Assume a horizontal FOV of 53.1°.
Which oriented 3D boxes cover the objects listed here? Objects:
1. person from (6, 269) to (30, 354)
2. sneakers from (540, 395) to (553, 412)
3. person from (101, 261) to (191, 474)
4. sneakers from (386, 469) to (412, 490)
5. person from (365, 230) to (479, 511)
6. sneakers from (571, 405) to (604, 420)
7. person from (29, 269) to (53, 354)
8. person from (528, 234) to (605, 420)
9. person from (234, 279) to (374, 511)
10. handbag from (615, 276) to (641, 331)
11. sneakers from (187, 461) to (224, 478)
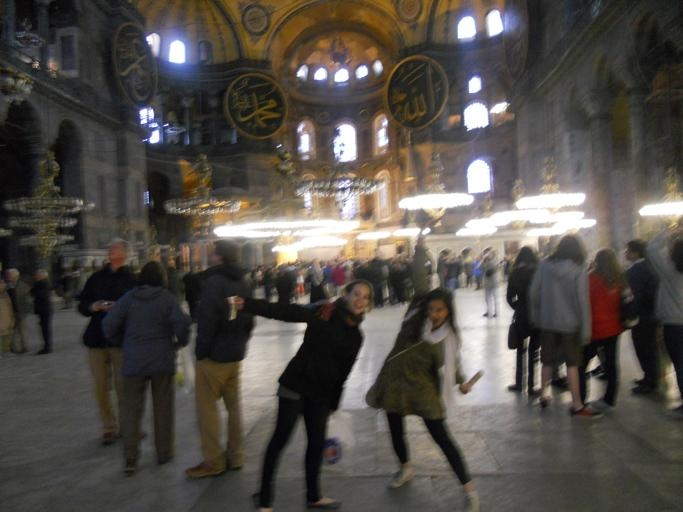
[{"bbox_3d":[-5.961,1.102,12.601,0.411,1.338,0.593,-7,13,-23],"label":"person"},{"bbox_3d":[2.541,1.821,8.459,0.137,0.132,0.139,0,-1,-4],"label":"sneakers"},{"bbox_3d":[-2.138,1.178,7.565,0.852,2.209,0.610,-8,13,-26],"label":"person"},{"bbox_3d":[0.596,2.306,7.101,0.250,0.100,0.140,-20,23,-25],"label":"sneakers"},{"bbox_3d":[0.836,1.414,6.834,1.112,2.155,0.653,2,13,18],"label":"person"},{"bbox_3d":[2.937,1.872,8.157,0.398,0.172,0.145,-3,-4,3],"label":"sneakers"},{"bbox_3d":[-5.453,1.014,12.413,0.368,1.516,0.560,-8,13,-25],"label":"person"},{"bbox_3d":[2.638,0.829,8.277,0.717,2.129,0.428,3,13,22],"label":"person"},{"bbox_3d":[-0.274,1.396,6.790,1.228,2.235,0.587,-4,12,-7],"label":"person"},{"bbox_3d":[3.577,0.605,8.375,0.183,0.531,0.398,-8,5,-33],"label":"handbag"},{"bbox_3d":[-1.487,2.307,7.375,0.402,0.175,0.148,5,-6,-4],"label":"sneakers"}]
